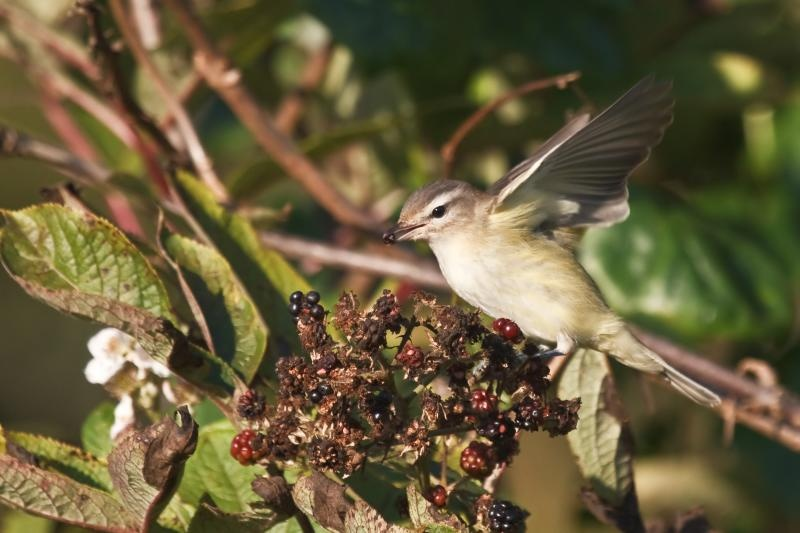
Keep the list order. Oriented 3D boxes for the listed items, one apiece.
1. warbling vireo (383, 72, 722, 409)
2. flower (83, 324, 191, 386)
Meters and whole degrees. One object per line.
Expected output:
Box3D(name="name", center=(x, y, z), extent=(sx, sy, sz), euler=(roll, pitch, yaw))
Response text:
Box3D(name="warbling vireo", center=(0.306, -0.046, 2.348), extent=(0.674, 0.525, 0.767), euler=(3, -12, -3))
Box3D(name="flower", center=(-0.503, 0.163, 2.025), extent=(0.118, 0.155, 0.059), euler=(29, -56, 37))
